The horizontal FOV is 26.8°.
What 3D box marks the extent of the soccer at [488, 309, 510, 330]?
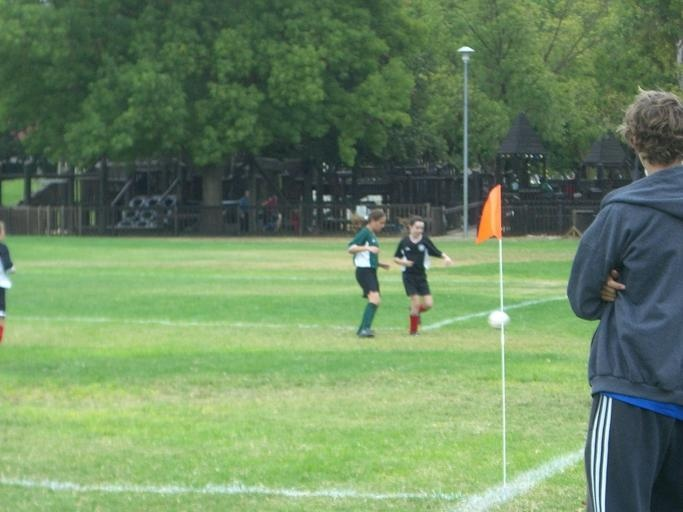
[{"bbox_3d":[3.104,1.262,28.327,0.447,0.331,0.443,-1,0,10],"label":"soccer"}]
